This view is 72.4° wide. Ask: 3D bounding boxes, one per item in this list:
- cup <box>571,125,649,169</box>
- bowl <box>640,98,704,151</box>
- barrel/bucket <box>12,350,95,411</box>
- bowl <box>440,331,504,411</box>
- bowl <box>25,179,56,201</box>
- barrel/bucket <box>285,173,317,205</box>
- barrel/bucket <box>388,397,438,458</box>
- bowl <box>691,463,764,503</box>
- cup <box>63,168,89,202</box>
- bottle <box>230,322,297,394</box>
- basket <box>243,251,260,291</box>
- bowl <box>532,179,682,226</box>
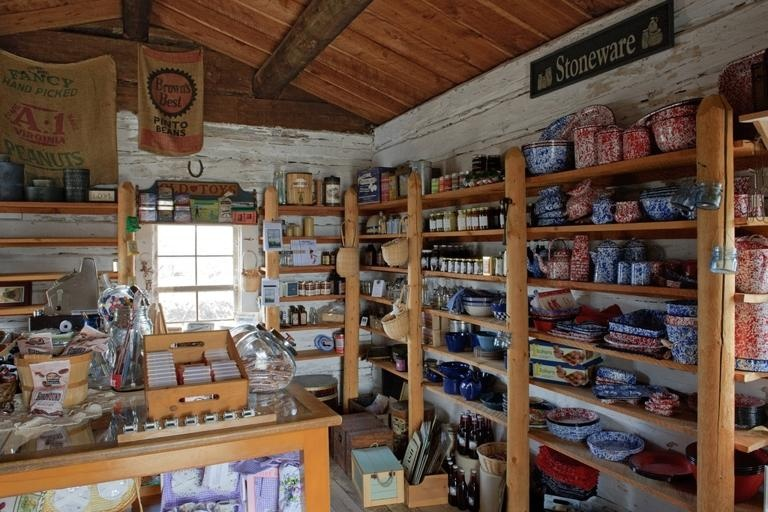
[{"bbox_3d":[1.408,-0.704,3.291,0.132,0.202,0.442,-4,2,-44],"label":"cup"},{"bbox_3d":[1.645,-0.741,2.995,0.365,0.172,0.333,-7,5,1],"label":"bowl"},{"bbox_3d":[-1.634,0.614,2.684,0.375,0.213,0.326,-3,-4,33],"label":"barrel/bucket"},{"bbox_3d":[0.724,0.978,4.448,0.533,0.211,0.625,-2,14,-10],"label":"bowl"},{"bbox_3d":[-3.106,-0.598,4.799,0.279,0.170,0.239,1,-5,-18],"label":"bowl"},{"bbox_3d":[-0.877,-0.728,5.725,0.409,0.297,0.379,1,2,0],"label":"barrel/bucket"},{"bbox_3d":[0.279,1.755,5.294,0.385,0.350,0.330,13,-28,24],"label":"barrel/bucket"},{"bbox_3d":[1.939,1.255,2.956,0.251,0.124,0.220,1,-6,-22],"label":"bowl"},{"bbox_3d":[-2.908,-0.673,4.974,0.216,0.346,0.195,-4,1,-24],"label":"cup"},{"bbox_3d":[-0.742,0.574,3.056,0.413,0.271,0.462,6,-2,-31],"label":"bottle"},{"bbox_3d":[-1.443,0.161,5.683,0.176,0.426,0.267,-4,1,-13],"label":"basket"},{"bbox_3d":[1.431,-0.317,3.361,0.585,0.161,0.386,-1,0,38],"label":"bowl"}]
